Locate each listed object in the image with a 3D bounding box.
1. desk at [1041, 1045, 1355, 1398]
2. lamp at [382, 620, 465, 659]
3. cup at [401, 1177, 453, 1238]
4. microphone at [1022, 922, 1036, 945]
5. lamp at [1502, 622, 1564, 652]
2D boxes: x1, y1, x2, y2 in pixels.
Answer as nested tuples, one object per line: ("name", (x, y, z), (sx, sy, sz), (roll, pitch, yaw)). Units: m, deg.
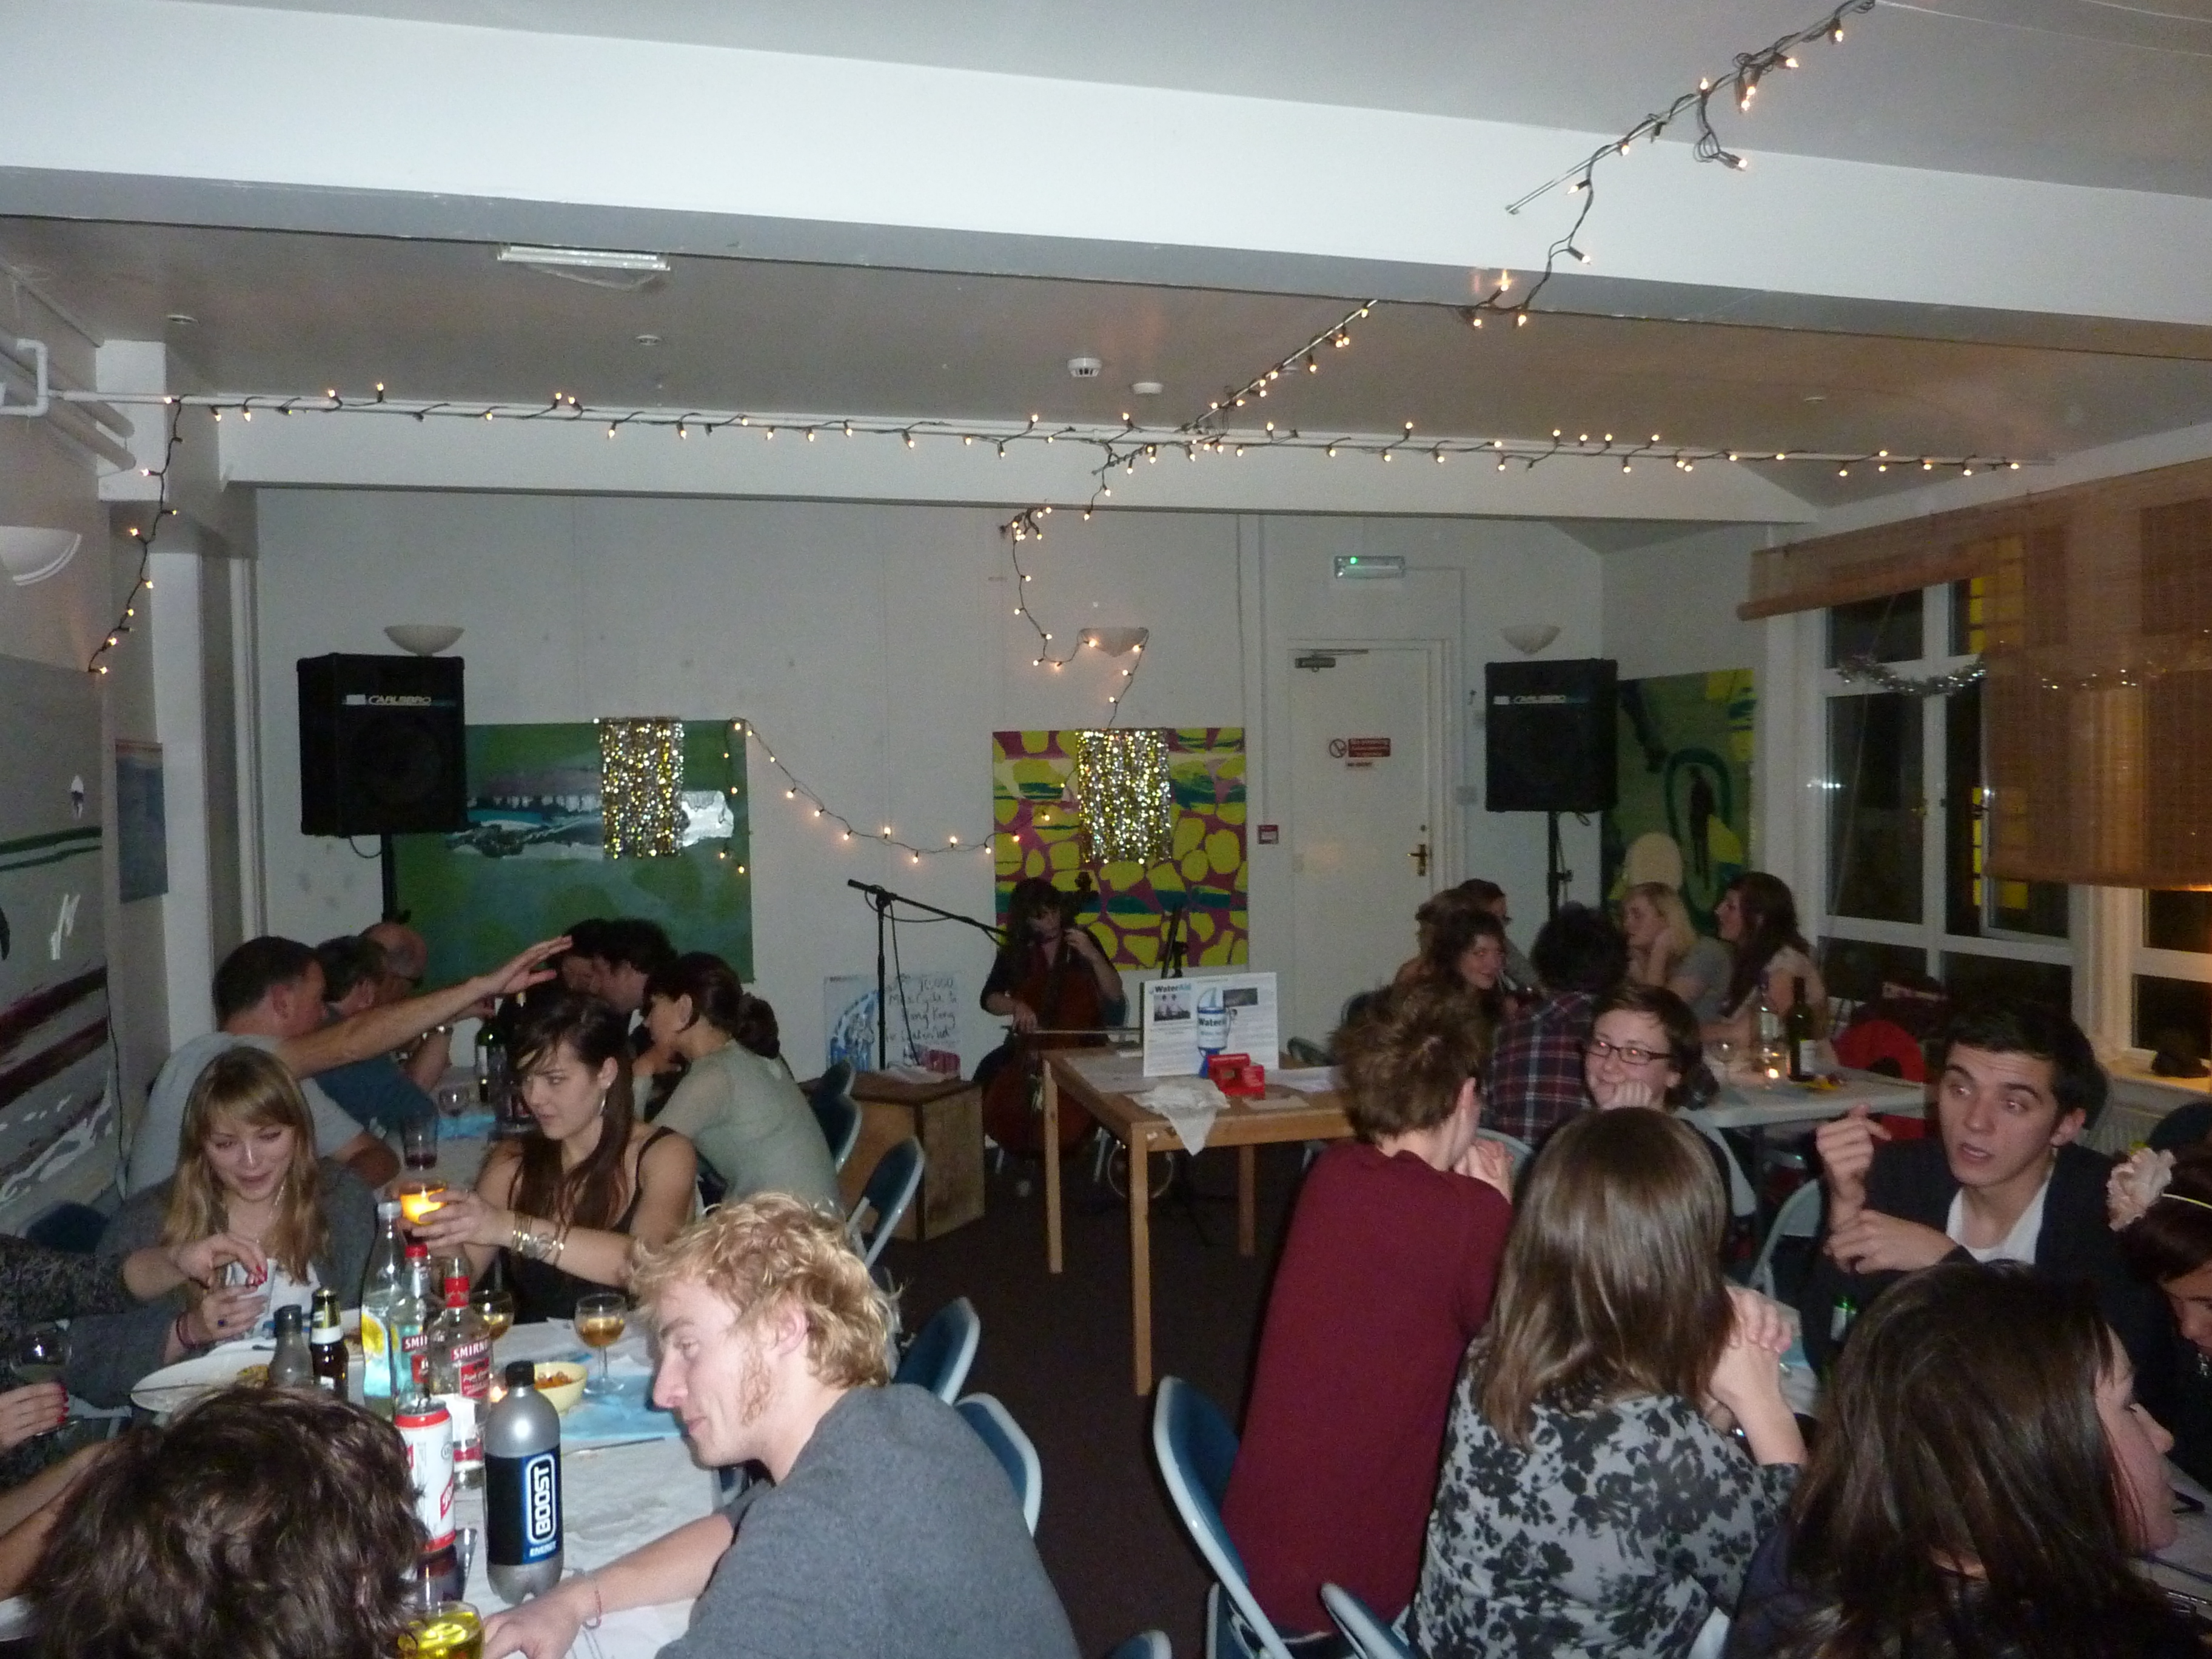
("desk", (0.342, 1.026, 5.810), (0.941, 1.072, 1.593), (-2, 5, -15))
("lamp", (-2.922, -0.830, 7.151), (0.277, 0.126, 0.288), (0, 1, 25))
("cup", (-1.388, 0.758, 3.344), (0.099, 0.120, 0.111), (-1, 1, 10))
("microphone", (-0.348, 0.460, 7.586), (0.053, 0.103, 0.054), (-4, -11, 4))
("lamp", (2.331, -1.055, 9.063), (0.294, 0.165, 0.381), (0, -2, 17))
